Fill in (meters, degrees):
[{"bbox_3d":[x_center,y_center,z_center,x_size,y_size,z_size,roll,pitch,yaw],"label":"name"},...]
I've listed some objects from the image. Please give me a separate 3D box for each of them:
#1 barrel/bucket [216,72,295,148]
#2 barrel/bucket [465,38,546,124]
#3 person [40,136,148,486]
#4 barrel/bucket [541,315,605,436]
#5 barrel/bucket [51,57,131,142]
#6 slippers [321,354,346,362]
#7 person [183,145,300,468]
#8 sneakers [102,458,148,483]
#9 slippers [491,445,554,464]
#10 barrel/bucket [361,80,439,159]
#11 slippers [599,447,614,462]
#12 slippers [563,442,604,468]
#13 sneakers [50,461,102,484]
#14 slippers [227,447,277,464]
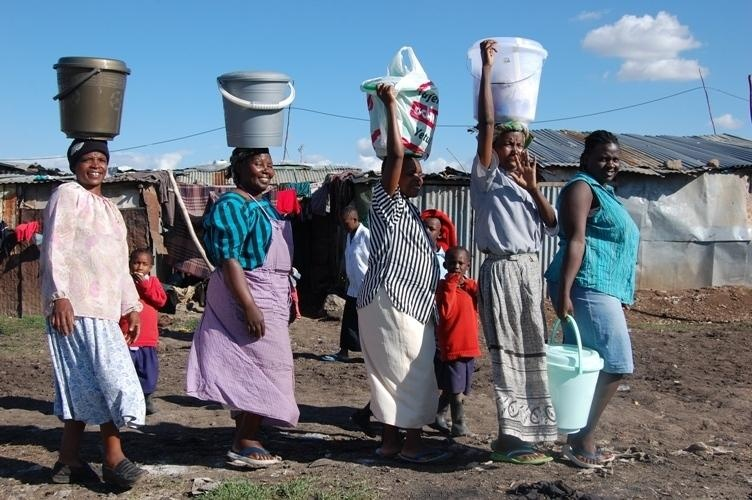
[{"bbox_3d":[-1.083,-1.259,7.117,0.701,0.625,0.673,0,8,0],"label":"barrel/bucket"},{"bbox_3d":[1.156,-1.468,7.118,0.797,0.689,0.807,-1,5,0],"label":"barrel/bucket"},{"bbox_3d":[-2.392,0.535,6.683,0.859,2.909,0.705,0,8,-9],"label":"person"},{"bbox_3d":[1.746,1.126,6.959,0.496,1.130,0.370,3,8,15],"label":"barrel/bucket"},{"bbox_3d":[-2.611,-1.370,7.271,0.688,0.688,0.723,4,5,0],"label":"barrel/bucket"},{"bbox_3d":[-0.578,1.508,10.990,0.335,0.126,0.122,4,-27,1],"label":"slippers"},{"bbox_3d":[-1.163,0.329,6.916,0.936,2.427,0.487,-1,8,-14],"label":"person"},{"bbox_3d":[-2.109,1.866,6.671,0.354,0.152,0.173,1,10,27],"label":"sneakers"},{"bbox_3d":[1.312,1.847,7.041,0.419,0.102,0.199,-2,8,5],"label":"slippers"},{"bbox_3d":[0.254,-1.188,6.878,0.653,0.711,0.391,-1,19,-15],"label":"barrel/bucket"},{"bbox_3d":[2.106,1.877,7.200,0.119,0.038,0.118,11,12,12],"label":"slippers"},{"bbox_3d":[1.858,1.842,7.122,0.372,0.142,0.151,7,3,29],"label":"slippers"},{"bbox_3d":[-2.541,1.905,6.727,0.399,0.161,0.183,3,-4,-16],"label":"sneakers"},{"bbox_3d":[-1.090,1.774,6.946,0.360,0.105,0.179,0,-1,27],"label":"slippers"}]
